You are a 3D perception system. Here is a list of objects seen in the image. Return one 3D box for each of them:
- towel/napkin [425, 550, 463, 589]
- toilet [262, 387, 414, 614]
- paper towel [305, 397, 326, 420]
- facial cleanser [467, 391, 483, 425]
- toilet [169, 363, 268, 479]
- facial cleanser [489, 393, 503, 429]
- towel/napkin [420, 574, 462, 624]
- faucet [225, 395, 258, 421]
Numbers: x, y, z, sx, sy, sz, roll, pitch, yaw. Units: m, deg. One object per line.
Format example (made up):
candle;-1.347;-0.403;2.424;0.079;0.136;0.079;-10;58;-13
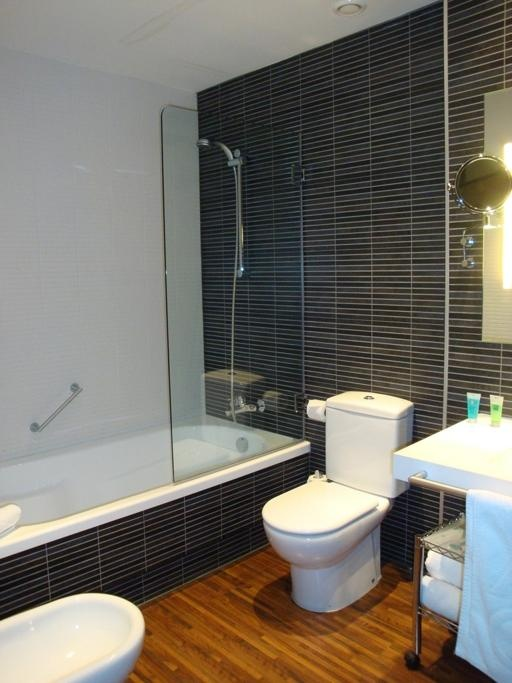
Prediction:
towel/napkin;0.614;0.711;1.728;0.116;0.094;0.101;15;19;38
toilet;0.285;0.677;2.272;0.716;0.777;0.436;-10;13;-40
paper towel;0.306;0.326;2.641;0.088;0.102;0.115;-8;9;-39
facial cleanser;0.796;0.239;1.977;0.037;0.104;0.048;1;5;27
toilet;-0.157;0.336;2.334;0.313;0.323;0.433;6;6;43
facial cleanser;0.879;0.245;1.965;0.045;0.099;0.118;1;5;25
towel/napkin;0.582;0.856;1.725;0.141;0.080;0.125;18;30;13
faucet;-0.083;0.298;2.476;0.054;0.096;0.183;11;21;35
